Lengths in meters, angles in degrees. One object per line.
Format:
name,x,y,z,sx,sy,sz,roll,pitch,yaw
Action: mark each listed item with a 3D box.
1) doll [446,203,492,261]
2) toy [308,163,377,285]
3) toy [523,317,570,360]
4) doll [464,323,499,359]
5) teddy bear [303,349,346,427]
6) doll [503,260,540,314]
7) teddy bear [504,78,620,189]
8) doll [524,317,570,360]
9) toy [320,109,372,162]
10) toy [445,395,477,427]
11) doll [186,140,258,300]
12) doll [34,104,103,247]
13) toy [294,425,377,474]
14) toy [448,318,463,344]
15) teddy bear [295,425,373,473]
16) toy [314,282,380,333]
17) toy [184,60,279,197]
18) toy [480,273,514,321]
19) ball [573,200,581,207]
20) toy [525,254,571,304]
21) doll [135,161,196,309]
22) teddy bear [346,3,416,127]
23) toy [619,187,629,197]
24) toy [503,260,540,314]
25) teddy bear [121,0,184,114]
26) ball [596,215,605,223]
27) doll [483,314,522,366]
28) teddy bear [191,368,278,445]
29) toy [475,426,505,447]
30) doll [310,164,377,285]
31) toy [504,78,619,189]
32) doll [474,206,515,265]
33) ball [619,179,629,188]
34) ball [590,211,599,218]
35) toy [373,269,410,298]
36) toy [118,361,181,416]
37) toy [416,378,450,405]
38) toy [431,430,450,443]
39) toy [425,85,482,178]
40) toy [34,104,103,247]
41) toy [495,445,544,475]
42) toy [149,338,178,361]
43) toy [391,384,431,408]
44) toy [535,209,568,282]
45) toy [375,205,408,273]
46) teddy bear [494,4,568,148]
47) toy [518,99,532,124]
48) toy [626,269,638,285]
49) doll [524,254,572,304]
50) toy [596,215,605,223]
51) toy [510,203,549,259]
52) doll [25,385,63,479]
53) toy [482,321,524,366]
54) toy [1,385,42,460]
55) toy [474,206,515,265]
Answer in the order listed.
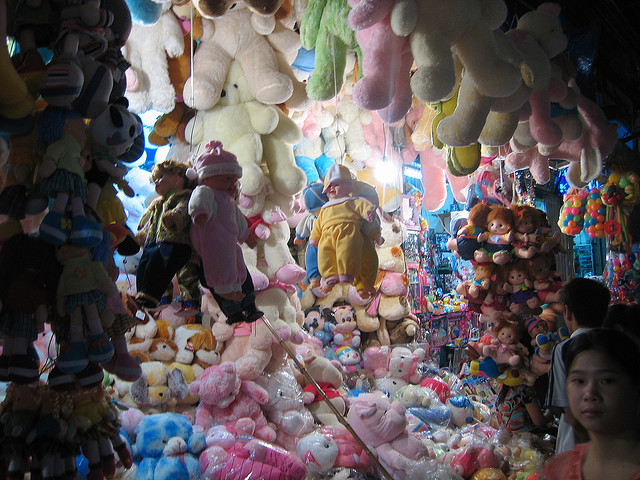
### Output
doll,1.042,-0.041,3.489,0.182,0.398,0.220,31,-25,-32
toy,0.126,-0.117,3.232,0.465,0.931,0.255,-15,-42,16
toy,1.493,0.641,3.279,0.209,0.300,0.230,-13,-14,-31
doll,1.153,0.676,3.428,0.320,0.169,0.146,-24,12,-32
teddy bear,0.017,0.987,3.272,0.262,0.403,0.238,27,-56,-37
doll,1.352,0.284,3.316,0.175,0.394,0.194,-5,24,40
teddy bear,1.555,-0.751,3.325,0.598,0.364,0.734,0,-47,4
doll,1.509,0.643,3.282,0.219,0.296,0.205,-21,-5,32
toy,0.234,-0.845,4.013,0.332,0.420,0.101,-5,11,-16
toy,1.071,1.262,3.676,0.283,0.217,0.146,8,-25,-26
doll,-0.501,-0.124,2.369,0.285,0.763,0.267,1,-22,-10
doll,-0.997,-0.270,1.966,0.209,0.649,0.167,8,-23,-37
toy,0.082,1.191,2.787,0.314,0.122,0.328,10,-7,2
toy,1.400,0.944,5.191,0.047,0.225,0.203,3,-1,31
teddy bear,0.086,1.185,2.794,0.296,0.160,0.317,11,-2,6
toy,0.258,0.573,4.348,0.470,0.158,0.402,12,-5,-18
toy,-0.570,-0.714,3.192,0.660,1.246,0.334,-4,-25,-1
toy,1.223,0.391,3.419,0.171,0.332,0.212,5,-25,3
ball,2.236,-0.323,4.298,0.047,0.052,0.048,-6,27,3
toy,1.501,0.226,3.242,0.241,0.330,0.236,-23,3,29
doll,-0.728,-0.044,2.334,0.249,0.664,0.200,1,-22,-12
teddy bear,0.307,-0.910,2.498,0.222,0.860,0.541,-8,1,4
toy,2.535,-0.400,4.121,0.054,0.060,0.031,-23,-8,-41
toy,1.348,0.282,3.318,0.180,0.388,0.190,-8,24,38
teddy bear,-0.992,-1.041,2.962,0.467,0.783,0.273,-4,10,-42
ball,2.365,-0.183,4.162,0.054,0.060,0.055,-4,-22,-2
doll,1.244,0.674,3.351,0.202,0.310,0.204,14,-7,43
teddy bear,-0.498,0.917,3.032,0.513,0.660,0.406,-4,-3,-13
toy,1.113,1.288,3.312,0.119,0.049,0.136,11,-6,6
doll,0.131,-0.111,3.233,0.492,0.960,0.255,-16,-44,18
toy,1.556,-0.706,3.283,0.602,0.360,0.736,8,-49,2
doll,1.189,-0.036,3.359,0.224,0.428,0.217,5,-9,27
ball,2.518,-0.476,4.094,0.059,0.065,0.056,-11,-5,-1
ball,2.324,-0.221,4.187,0.045,0.050,0.044,1,-16,0
toy,0.628,0.362,4.239,0.261,0.302,0.126,10,-17,13
toy,-0.956,0.826,2.738,0.211,0.333,0.298,-26,-46,33
toy,0.865,1.083,3.685,0.168,0.256,0.189,7,-10,11
toy,0.802,1.289,3.266,0.096,0.078,0.065,7,-27,-22
toy,0.802,-0.628,3.031,0.281,0.564,0.117,-5,4,-8
toy,-0.996,-0.272,1.961,0.222,0.661,0.176,6,-24,-33
toy,1.245,1.327,3.022,0.140,0.067,0.160,-3,8,12
toy,-0.961,0.643,3.012,0.130,0.127,0.104,4,2,35
toy,0.657,1.112,3.523,0.180,0.143,0.158,-1,9,18
toy,1.543,0.061,3.339,0.211,0.532,0.137,-10,6,15
toy,0.702,0.005,4.439,0.355,0.625,0.354,-5,-2,43
teddy bear,1.196,-0.986,2.742,0.498,0.826,0.287,-4,-5,-43
toy,1.131,-0.712,2.747,0.090,0.138,0.046,-6,17,-29
toy,2.817,0.325,4.450,0.103,0.122,0.034,-25,-3,5
doll,1.495,0.231,3.250,0.250,0.325,0.215,-17,11,46
toy,2.361,-0.186,4.162,0.054,0.061,0.053,0,1,-9
toy,1.387,-0.085,3.297,0.212,0.364,0.257,-3,7,15
doll,-1.120,0.772,2.015,0.118,0.357,0.085,-10,-22,16
toy,1.249,0.669,3.431,0.264,0.407,0.250,4,-5,37
toy,-1.232,0.745,2.076,0.138,0.269,0.076,13,-31,2
toy,1.200,-0.035,3.360,0.233,0.425,0.198,2,-9,42
